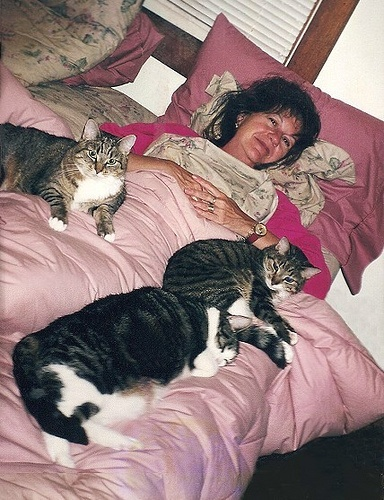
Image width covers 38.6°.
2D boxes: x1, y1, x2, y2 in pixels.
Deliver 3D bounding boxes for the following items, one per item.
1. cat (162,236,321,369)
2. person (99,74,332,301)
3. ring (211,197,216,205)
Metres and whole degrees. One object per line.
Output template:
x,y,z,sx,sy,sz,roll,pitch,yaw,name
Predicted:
0.121,0.087,1.528,0.397,0.168,0.474,25,30,29,cat
0.139,-0.319,1.905,0.697,0.364,0.928,34,30,5,person
0.066,-0.152,1.688,0.006,0.020,0.015,25,-10,-11,ring
